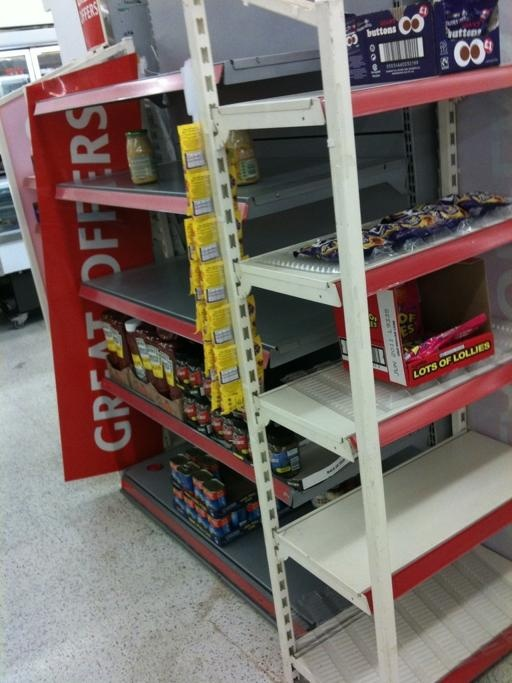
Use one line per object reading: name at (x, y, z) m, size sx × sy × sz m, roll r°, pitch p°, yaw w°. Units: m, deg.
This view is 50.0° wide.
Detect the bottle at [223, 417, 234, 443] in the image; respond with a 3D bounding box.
bottle at (-0.087, 0.276, 1.701) m, size 0.046 × 0.071 × 0.073 m, roll -2°, pitch 4°, yaw -2°

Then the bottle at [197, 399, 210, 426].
bottle at (-0.180, 0.243, 1.865) m, size 0.050 × 0.075 × 0.077 m, roll -7°, pitch -7°, yaw 8°

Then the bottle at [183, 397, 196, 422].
bottle at (-0.239, 0.244, 1.971) m, size 0.049 × 0.119 × 0.039 m, roll -3°, pitch -20°, yaw -14°
